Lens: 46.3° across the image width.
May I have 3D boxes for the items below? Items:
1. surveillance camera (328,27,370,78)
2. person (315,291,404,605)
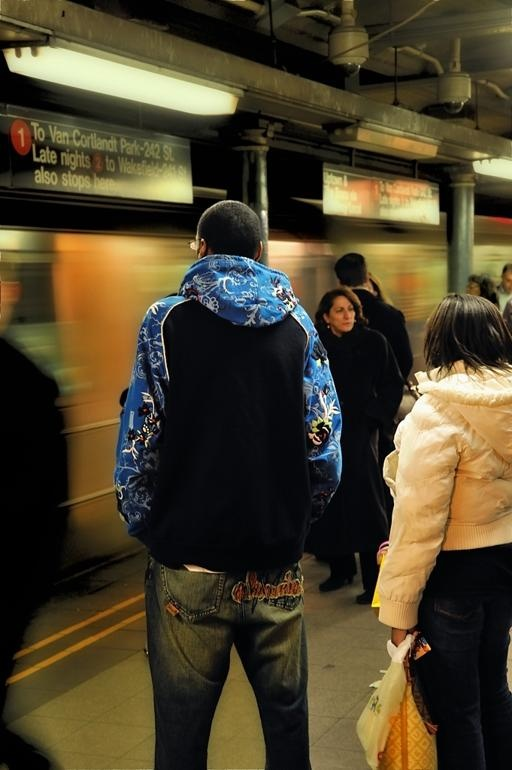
[{"bbox_3d":[0.928,-3.417,6.089,0.365,0.380,0.415,-2,-4,6],"label":"surveillance camera"},{"bbox_3d":[0.841,0.402,4.463,0.627,2.359,0.845,3,-3,-22],"label":"person"}]
